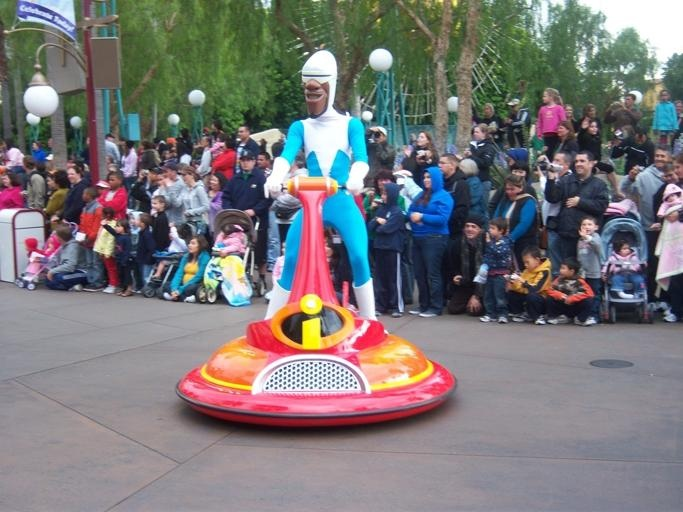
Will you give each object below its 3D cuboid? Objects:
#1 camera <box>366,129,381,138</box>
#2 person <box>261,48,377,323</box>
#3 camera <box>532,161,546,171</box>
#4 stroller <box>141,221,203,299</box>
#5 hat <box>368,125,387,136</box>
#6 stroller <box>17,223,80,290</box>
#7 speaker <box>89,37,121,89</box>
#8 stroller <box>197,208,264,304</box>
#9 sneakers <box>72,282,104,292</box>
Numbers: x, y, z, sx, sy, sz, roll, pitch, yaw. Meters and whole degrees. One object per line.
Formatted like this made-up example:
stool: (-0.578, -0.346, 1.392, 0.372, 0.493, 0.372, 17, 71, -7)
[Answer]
camera: (0.576, -2.145, 15.176, 0.221, 0.092, 0.259, 0, 11, 3)
person: (-0.229, -0.840, 10.194, 1.194, 3.206, 1.449, -1, 10, 1)
camera: (2.969, -1.335, 12.888, 0.209, 0.136, 0.143, 7, 6, 22)
stroller: (-2.758, 0.180, 14.780, 1.211, 0.969, 1.009, -10, 14, -29)
hat: (0.703, -2.199, 15.127, 0.271, 0.092, 0.299, 6, -13, 18)
stroller: (-5.542, 0.032, 16.240, 1.262, 1.058, 0.783, -1, 8, -30)
speaker: (-4.475, -3.637, 16.311, 0.588, 0.941, 0.427, -1, 10, 1)
stroller: (-1.904, -0.020, 14.396, 0.962, 1.388, 1.280, 5, 23, 12)
sneakers: (-4.606, 0.587, 15.860, 0.620, 0.185, 0.190, -4, 2, -2)
